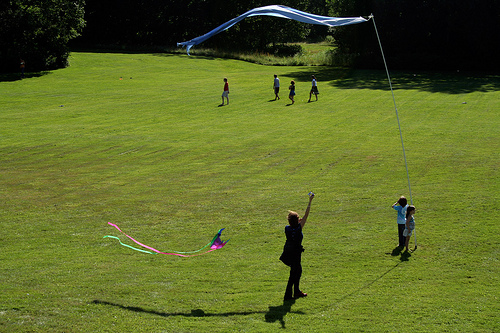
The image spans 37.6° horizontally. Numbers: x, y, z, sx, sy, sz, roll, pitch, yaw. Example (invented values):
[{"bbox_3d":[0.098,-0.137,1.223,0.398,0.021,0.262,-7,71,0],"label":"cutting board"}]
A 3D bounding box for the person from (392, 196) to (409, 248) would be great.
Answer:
[{"bbox_3d":[8.511,3.144,41.814,1.059,2.697,0.790,-2,0,5],"label":"person"}]

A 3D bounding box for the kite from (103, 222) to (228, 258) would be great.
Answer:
[{"bbox_3d":[-4.561,4.173,40.710,7.257,1.918,2.837,2,10,13],"label":"kite"}]
